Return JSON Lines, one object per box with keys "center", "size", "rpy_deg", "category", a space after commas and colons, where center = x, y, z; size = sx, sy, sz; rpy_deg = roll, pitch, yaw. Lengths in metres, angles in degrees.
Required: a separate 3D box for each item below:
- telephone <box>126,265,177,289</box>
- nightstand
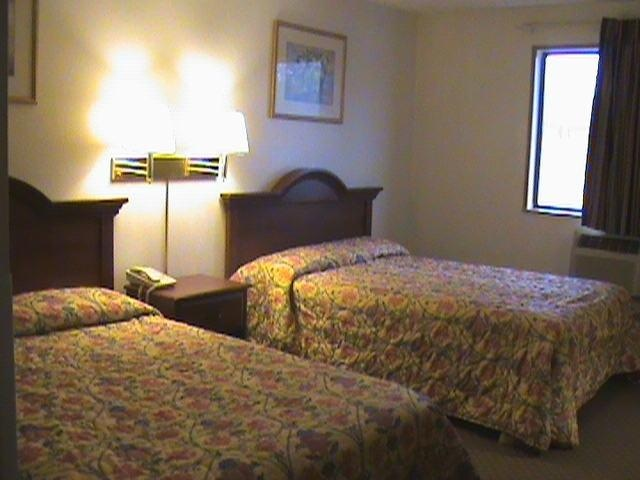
{"center": [-1.130, 0.237, 3.767], "size": [0.206, 0.097, 0.169], "rpy_deg": [12, 10, 28], "category": "telephone"}
{"center": [-0.918, 0.337, 3.895], "size": [0.478, 0.556, 0.498], "rpy_deg": [11, 13, 39], "category": "nightstand"}
